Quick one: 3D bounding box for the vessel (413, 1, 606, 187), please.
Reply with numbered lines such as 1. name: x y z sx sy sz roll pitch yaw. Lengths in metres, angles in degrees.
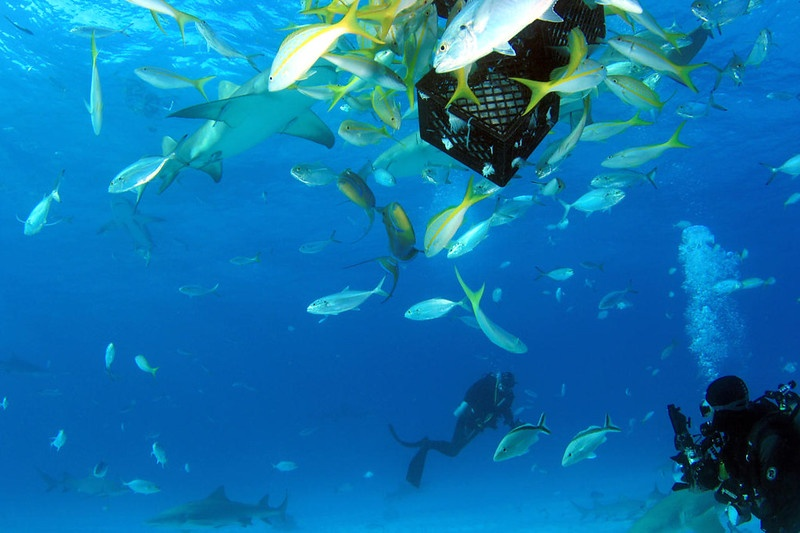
1. vessel: 6.909 -11.505 50.462 13.598 7.720 5.807 -49 3 8
